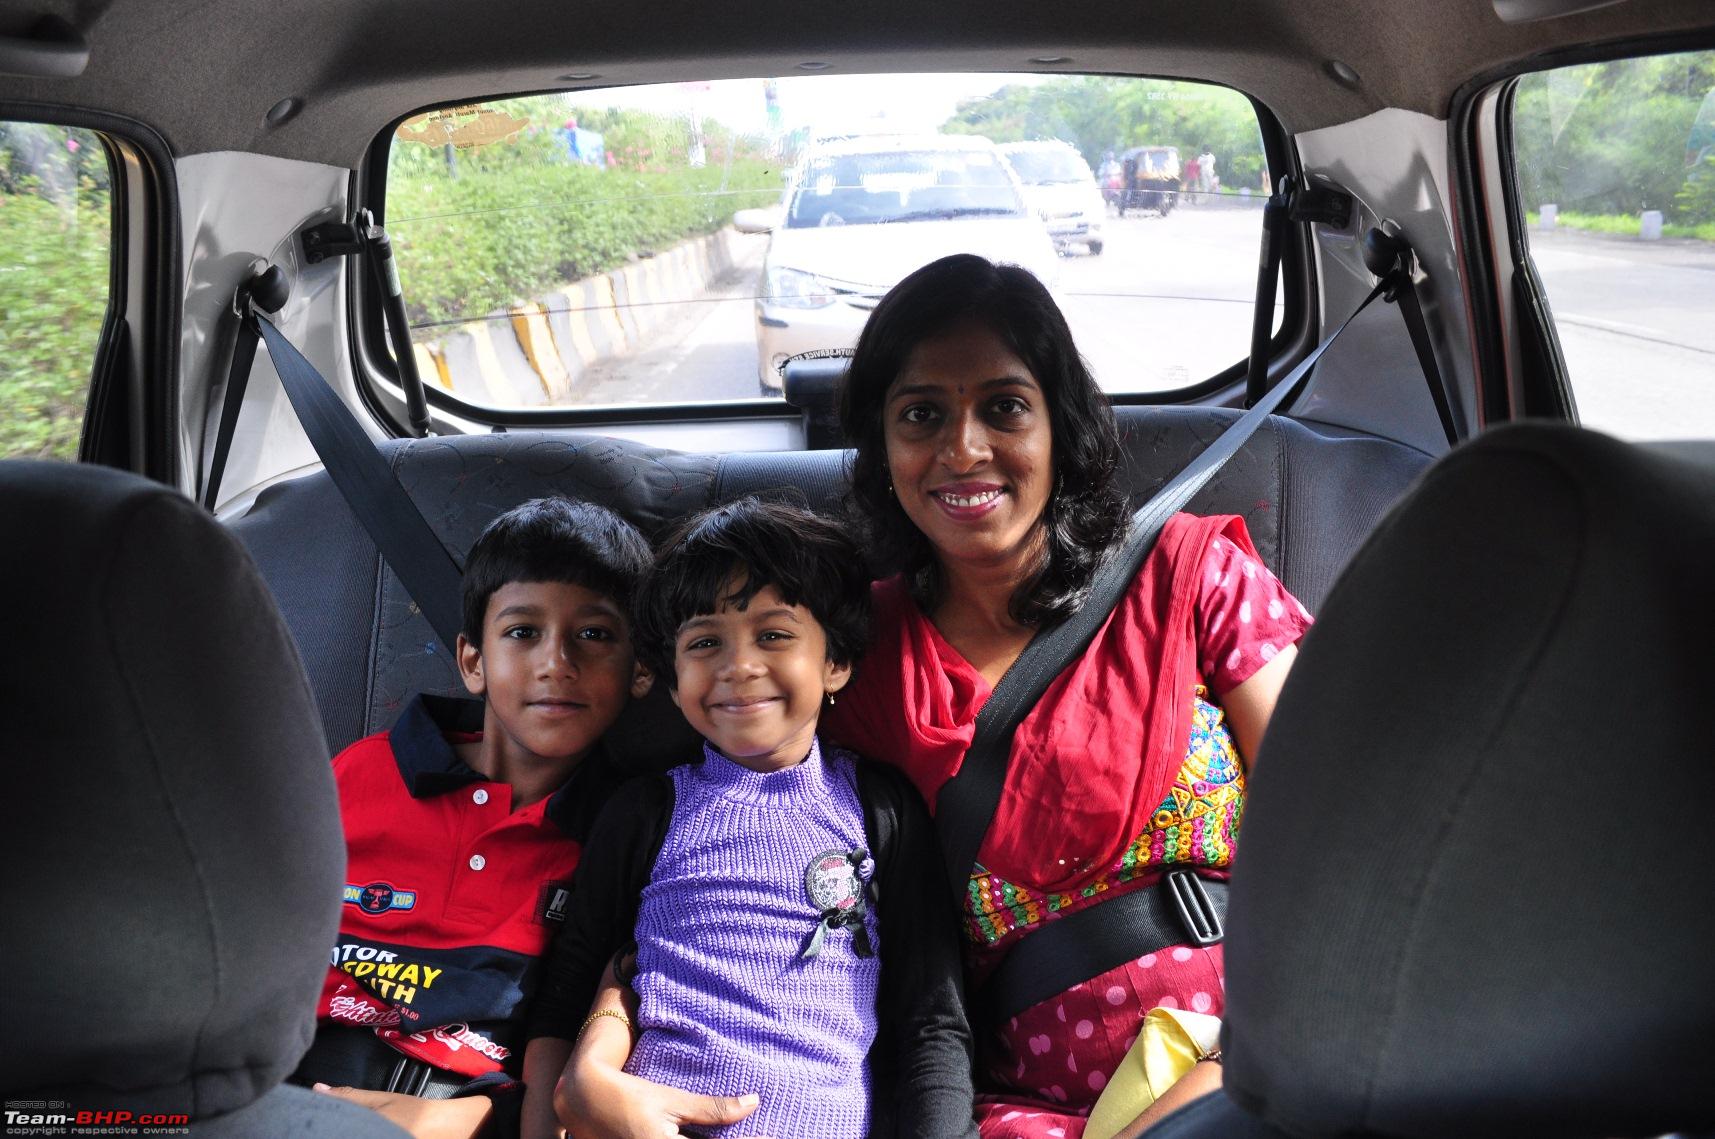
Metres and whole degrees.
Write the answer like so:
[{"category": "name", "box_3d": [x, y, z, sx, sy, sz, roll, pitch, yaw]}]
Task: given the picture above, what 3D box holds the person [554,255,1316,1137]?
[{"category": "person", "box_3d": [0.111, 0.205, 1.920, 1.021, 1.405, 0.795, -12, -24, 31]}]
